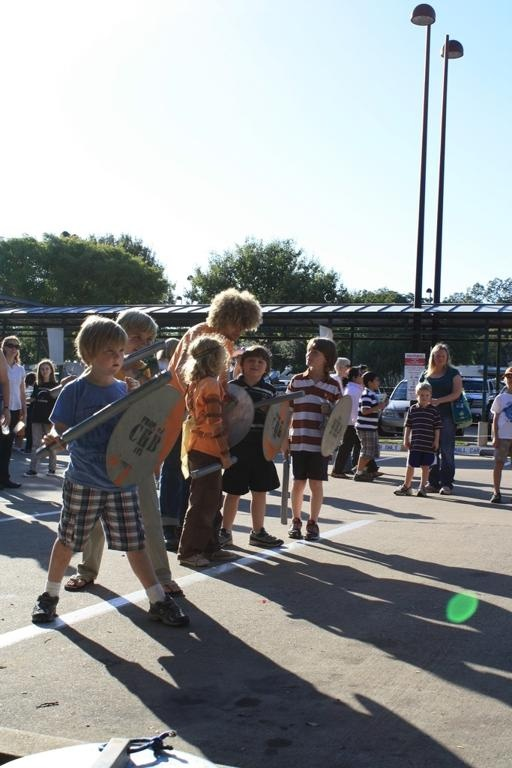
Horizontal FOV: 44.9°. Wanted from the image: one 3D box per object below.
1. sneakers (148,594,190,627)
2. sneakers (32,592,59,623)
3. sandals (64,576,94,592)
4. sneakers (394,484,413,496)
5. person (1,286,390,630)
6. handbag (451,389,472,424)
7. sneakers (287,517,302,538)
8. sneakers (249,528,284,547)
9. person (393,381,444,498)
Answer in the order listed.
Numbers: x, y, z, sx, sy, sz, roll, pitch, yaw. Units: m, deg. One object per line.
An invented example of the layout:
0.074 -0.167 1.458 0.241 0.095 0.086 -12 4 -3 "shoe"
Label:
-0.435 1.152 3.160 0.250 0.124 0.098 4 3 37 "sneakers"
-1.045 1.129 3.068 0.079 0.087 0.197 1 -8 -3 "sneakers"
-1.078 1.226 3.780 0.066 0.051 0.174 -2 -16 9 "sandals"
2.032 1.490 8.606 0.236 0.149 0.250 0 -5 12 "sneakers"
-0.621 0.243 4.071 0.805 2.076 1.489 0 -5 19 "person"
3.048 0.396 9.268 0.261 0.533 0.943 0 -5 18 "handbag"
0.356 1.352 5.743 0.184 0.201 0.493 0 -7 3 "sneakers"
0.070 1.306 5.252 0.318 0.147 0.118 1 2 18 "sneakers"
2.266 0.774 8.684 0.592 1.605 0.361 0 -4 11 "person"
